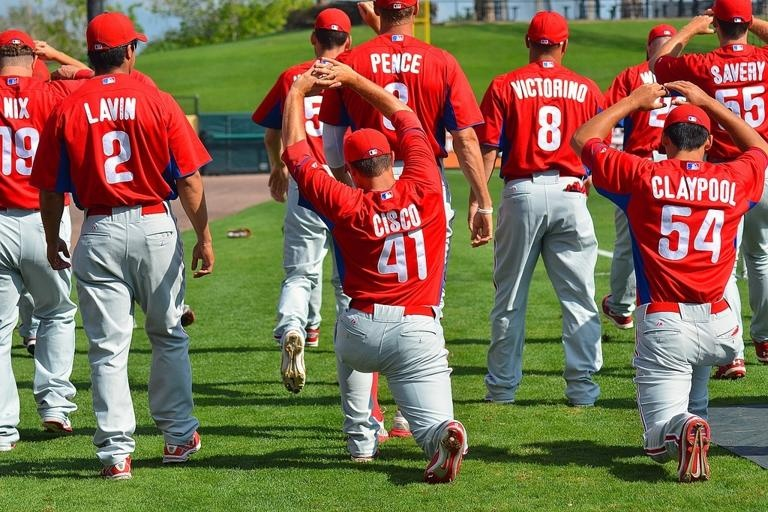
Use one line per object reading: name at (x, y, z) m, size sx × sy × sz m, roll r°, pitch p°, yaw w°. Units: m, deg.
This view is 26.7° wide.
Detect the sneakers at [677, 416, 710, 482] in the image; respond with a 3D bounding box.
sneakers at (2.418, 1.510, 12.731) m, size 0.222 × 0.524 × 0.250 m, roll -3°, pitch 5°, yaw -1°

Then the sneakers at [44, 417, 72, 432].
sneakers at (-2.850, 1.441, 13.957) m, size 0.110 × 0.108 × 0.249 m, roll -14°, pitch -27°, yaw 23°

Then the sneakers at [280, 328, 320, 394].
sneakers at (-0.736, 0.872, 13.618) m, size 0.223 × 0.526 × 0.263 m, roll -1°, pitch -10°, yaw -13°

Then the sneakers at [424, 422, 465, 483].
sneakers at (0.508, 1.513, 12.789) m, size 0.232 × 0.559 × 0.247 m, roll 21°, pitch 29°, yaw 4°

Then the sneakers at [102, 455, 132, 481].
sneakers at (-2.174, 1.706, 13.038) m, size 0.132 × 0.142 × 0.317 m, roll 0°, pitch 3°, yaw -18°

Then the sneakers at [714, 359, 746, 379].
sneakers at (3.168, 1.025, 14.813) m, size 0.169 × 0.180 × 0.420 m, roll -3°, pitch 0°, yaw -29°
